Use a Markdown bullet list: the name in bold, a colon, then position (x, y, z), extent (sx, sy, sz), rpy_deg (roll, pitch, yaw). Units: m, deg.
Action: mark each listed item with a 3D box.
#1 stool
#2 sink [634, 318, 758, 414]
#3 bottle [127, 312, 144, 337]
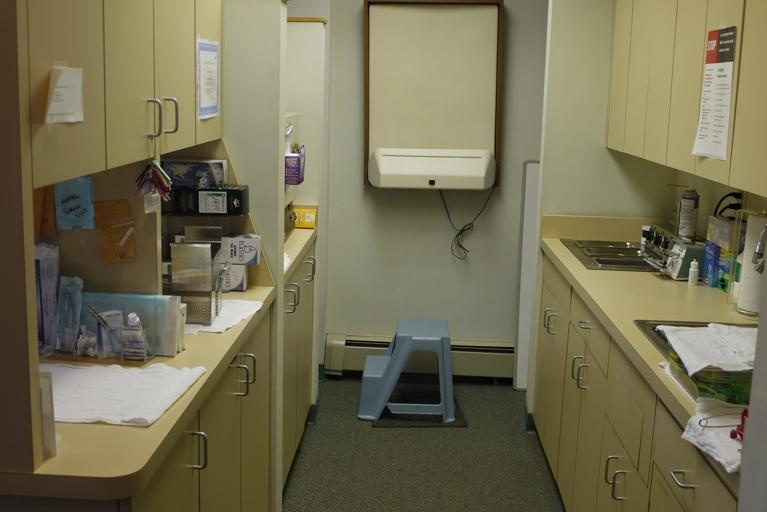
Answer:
- **stool**: position (0.146, 0.700, 4.001), extent (0.639, 0.601, 0.544), rpy_deg (1, 21, 0)
- **sink**: position (0.957, 0.339, 1.843), extent (0.291, 0.093, 0.286), rpy_deg (0, 13, 0)
- **bottle**: position (-0.844, 0.235, 2.045), extent (0.034, 0.056, 0.092), rpy_deg (9, -14, -4)
